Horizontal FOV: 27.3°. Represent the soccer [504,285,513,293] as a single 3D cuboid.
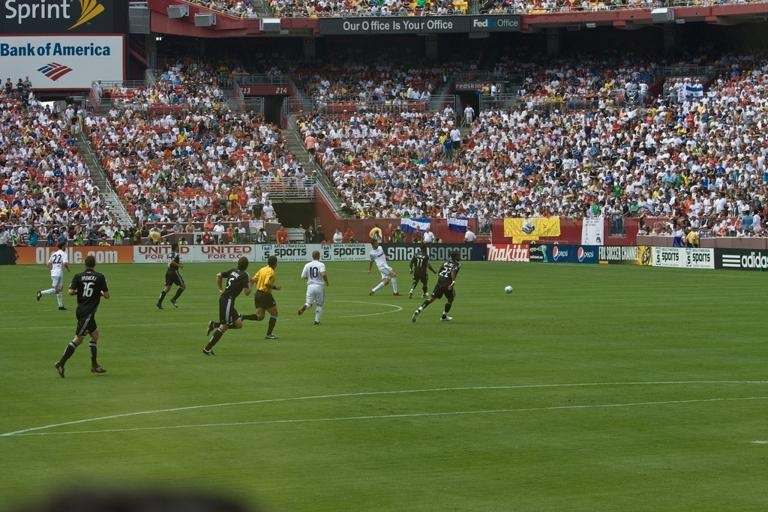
[{"bbox_3d":[6.333,1.634,80.774,0.397,0.396,0.402,-1,-21,-9],"label":"soccer"}]
